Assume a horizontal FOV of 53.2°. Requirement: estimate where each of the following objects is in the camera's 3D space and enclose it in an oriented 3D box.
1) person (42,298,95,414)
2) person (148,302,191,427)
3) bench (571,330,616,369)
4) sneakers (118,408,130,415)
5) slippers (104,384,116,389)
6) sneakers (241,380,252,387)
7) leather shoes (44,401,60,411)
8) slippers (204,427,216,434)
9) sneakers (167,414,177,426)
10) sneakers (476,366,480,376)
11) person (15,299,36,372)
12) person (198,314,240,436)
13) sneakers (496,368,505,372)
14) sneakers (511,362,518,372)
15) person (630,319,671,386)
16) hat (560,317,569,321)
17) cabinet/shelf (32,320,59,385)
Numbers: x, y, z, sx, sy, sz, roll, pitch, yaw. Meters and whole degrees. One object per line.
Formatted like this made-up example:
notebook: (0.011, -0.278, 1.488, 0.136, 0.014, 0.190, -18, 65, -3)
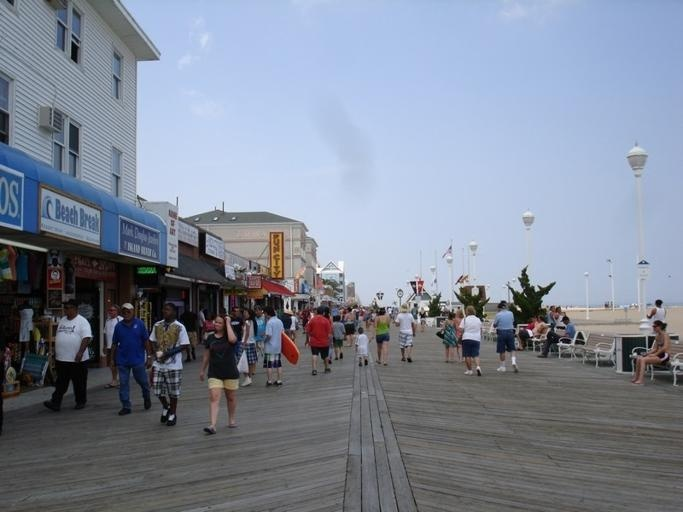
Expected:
person: (-5.927, 2.191, 14.945, 0.850, 2.405, 0.883, 3, -7, -24)
person: (-3.450, 2.133, 13.566, 0.606, 2.416, 0.706, 6, -8, -43)
bench: (8.573, 3.387, 23.774, 0.845, 1.134, 2.486, 24, -5, 18)
sneakers: (-4.522, 3.280, 14.294, 0.253, 0.113, 0.107, 5, -3, -15)
slippers: (-5.932, 3.389, 17.640, 0.120, 0.080, 0.282, -1, -10, 18)
sneakers: (-2.548, 3.452, 18.397, 0.236, 0.176, 0.101, -16, -51, 10)
leather shoes: (-6.302, 3.263, 14.785, 0.402, 0.236, 0.245, -3, -8, 28)
slippers: (-2.434, 3.237, 12.628, 0.252, 0.142, 0.204, -1, -7, 6)
sneakers: (-3.317, 3.220, 13.380, 0.207, 0.212, 0.265, 2, -7, -16)
sneakers: (3.921, 3.354, 19.455, 0.102, 0.130, 0.302, -5, -46, 10)
person: (-8.216, 1.948, 17.807, 0.371, 1.429, 0.857, 3, -7, -25)
person: (-2.280, 2.236, 12.990, 0.651, 2.219, 0.618, 3, -7, -24)
sneakers: (4.787, 3.386, 20.319, 0.235, 0.141, 0.473, -2, -7, 14)
sneakers: (5.089, 3.334, 19.985, 0.127, 0.179, 0.397, -7, -31, 11)
person: (8.007, 2.503, 17.612, 0.876, 1.615, 0.705, -3, -7, 28)
hat: (8.617, 2.428, 26.084, 0.201, 0.170, 0.212, -2, 3, -20)
cabinet/shelf: (-7.915, 2.493, 17.850, 0.892, 1.285, 0.733, -1, 0, -6)
